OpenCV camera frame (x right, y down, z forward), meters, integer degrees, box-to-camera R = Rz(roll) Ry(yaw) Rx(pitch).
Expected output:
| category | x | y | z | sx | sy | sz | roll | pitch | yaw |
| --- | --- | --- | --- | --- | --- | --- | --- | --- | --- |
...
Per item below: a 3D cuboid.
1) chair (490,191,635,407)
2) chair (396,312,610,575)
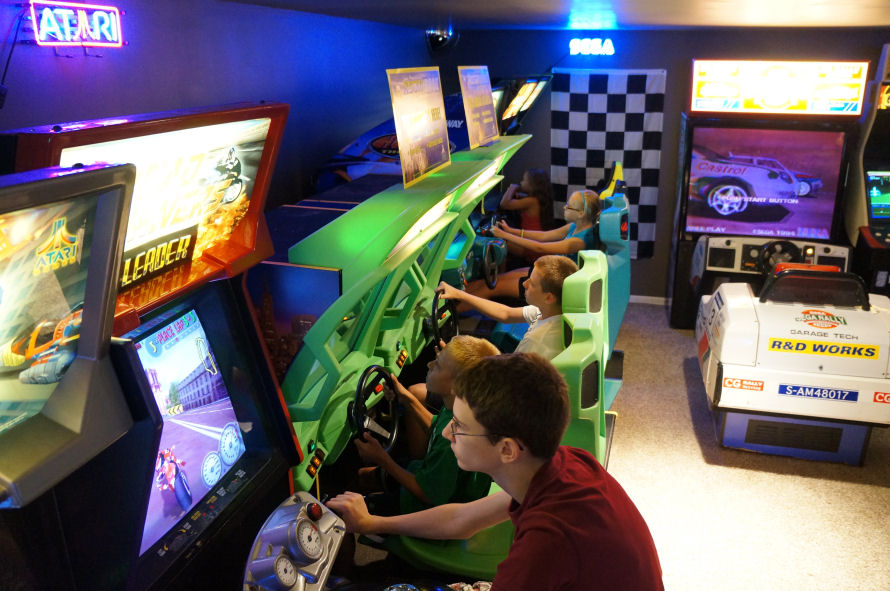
| category | x | y | z | sx | sy | sz | roll | pitch | yaw |
| --- | --- | --- | --- | --- | --- | --- | --- | --- | --- |
| chair | 1.071 | -0.123 | 5.138 | 0.996 | 1.677 | 1.021 | 7 | 21 | 29 |
| chair | 0.386 | 0.733 | 3.020 | 0.987 | 1.188 | 1.218 | 6 | 8 | 17 |
